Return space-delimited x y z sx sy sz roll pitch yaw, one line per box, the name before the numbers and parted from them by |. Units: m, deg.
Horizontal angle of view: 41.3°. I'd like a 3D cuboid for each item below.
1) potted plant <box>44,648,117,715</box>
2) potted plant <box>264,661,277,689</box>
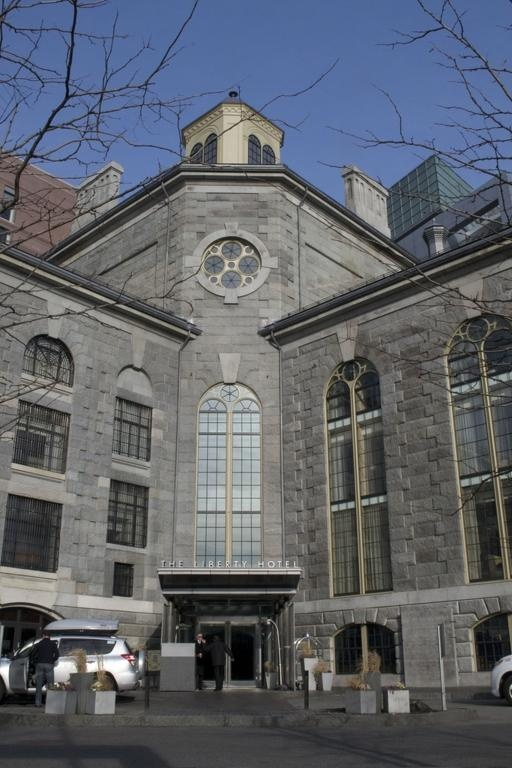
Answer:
potted plant | -3.684 6.505 14.296 1.360 0.781 1.008 5 -20 -16
potted plant | 0.558 11.070 25.819 0.369 0.905 0.891 3 -19 -11
